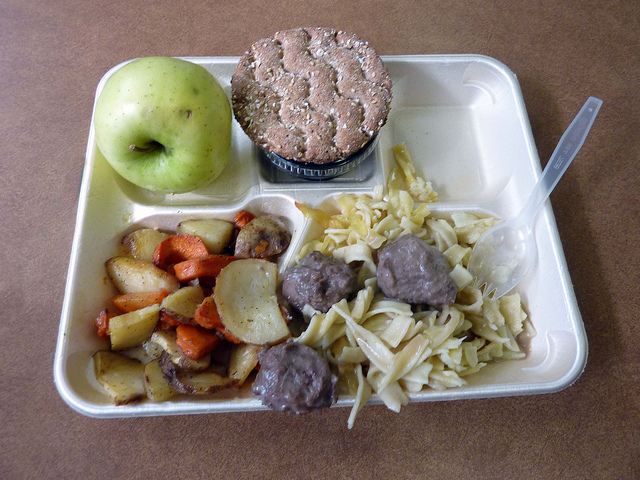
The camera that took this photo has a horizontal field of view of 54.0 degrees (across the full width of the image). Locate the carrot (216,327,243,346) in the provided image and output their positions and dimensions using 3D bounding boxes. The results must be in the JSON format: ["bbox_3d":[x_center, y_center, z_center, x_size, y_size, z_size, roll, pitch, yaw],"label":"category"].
[{"bbox_3d":[-0.480,0.506,3.323,0.107,0.033,0.108,37,4,-26],"label":"carrot"}]

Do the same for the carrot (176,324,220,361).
[{"bbox_3d":[-0.649,0.541,3.318,0.209,0.188,0.097,-1,-10,2],"label":"carrot"}]

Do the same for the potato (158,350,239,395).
[{"bbox_3d":[-0.625,0.671,3.211,0.297,0.067,0.222,7,40,-22],"label":"potato"}]

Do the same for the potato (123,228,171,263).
[{"bbox_3d":[-1.005,0.009,3.671,0.260,0.173,0.228,-7,33,-2],"label":"potato"}]

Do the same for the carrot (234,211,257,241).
[{"bbox_3d":[-0.458,-0.085,3.610,0.121,0.135,0.031,10,-9,4],"label":"carrot"}]
